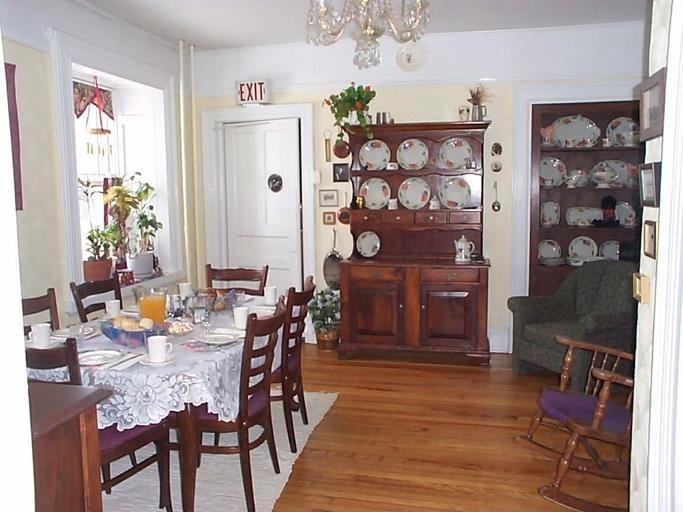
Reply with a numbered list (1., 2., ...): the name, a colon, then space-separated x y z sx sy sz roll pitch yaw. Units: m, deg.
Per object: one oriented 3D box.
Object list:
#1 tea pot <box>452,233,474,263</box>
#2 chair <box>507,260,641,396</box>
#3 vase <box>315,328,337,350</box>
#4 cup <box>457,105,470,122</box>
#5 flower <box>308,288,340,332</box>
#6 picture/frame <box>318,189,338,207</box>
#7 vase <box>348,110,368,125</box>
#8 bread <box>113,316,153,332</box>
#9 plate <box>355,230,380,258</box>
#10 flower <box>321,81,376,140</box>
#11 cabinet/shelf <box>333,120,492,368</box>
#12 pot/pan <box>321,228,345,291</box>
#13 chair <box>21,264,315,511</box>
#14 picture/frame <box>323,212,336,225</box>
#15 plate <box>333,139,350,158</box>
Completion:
1. tea pot: 1.173 -0.074 4.931 0.269 0.333 0.190 0 2 -9
2. chair: 1.918 0.499 4.318 0.991 1.236 1.060 1 1 -29
3. vase: -0.154 0.846 5.216 0.186 0.148 0.193 0 -6 2
4. cup: 1.147 -1.344 4.906 0.145 0.169 0.150 0 3 0
5. flower: -0.166 0.545 5.344 0.420 0.522 0.357 0 -4 -5
6. picture/frame: -0.130 -0.618 5.362 0.173 0.160 0.013 1 3 5
7. vase: 0.152 -1.290 4.883 0.155 0.060 0.161 3 3 -5
8. bread: -1.105 0.365 2.770 0.112 0.046 0.116 5 5 -2
9. plate: 0.269 -0.132 5.219 0.254 0.274 0.059 0 2 7
10. flower: 0.124 -1.384 4.953 0.577 0.624 0.438 0 9 10
11. cabinet/shelf: 0.720 -0.150 4.961 1.381 2.277 0.814 -1 7 16
12. pot/pan: -0.095 0.038 5.415 0.193 0.658 0.088 3 12 21
13. chair: -0.928 0.526 2.849 1.078 0.911 1.412 3 5 13
14. picture/frame: -0.126 -0.407 5.381 0.123 0.128 0.013 1 5 5
15. plate: -0.024 -1.088 5.190 0.148 0.216 0.154 -5 -8 28
